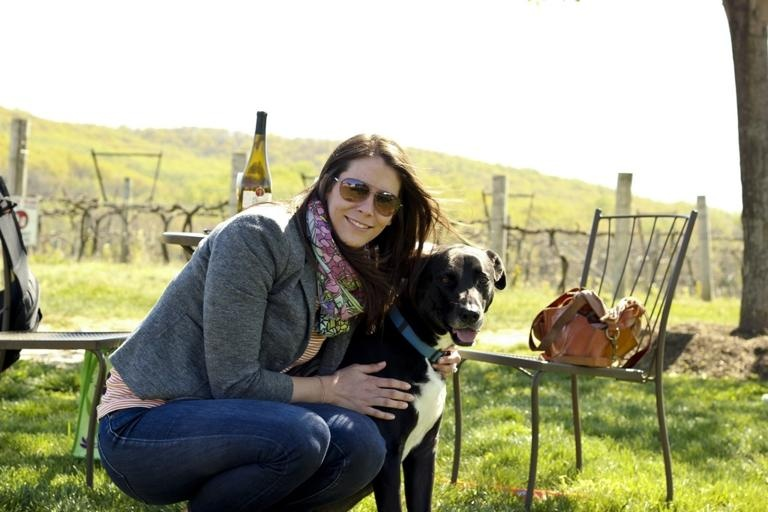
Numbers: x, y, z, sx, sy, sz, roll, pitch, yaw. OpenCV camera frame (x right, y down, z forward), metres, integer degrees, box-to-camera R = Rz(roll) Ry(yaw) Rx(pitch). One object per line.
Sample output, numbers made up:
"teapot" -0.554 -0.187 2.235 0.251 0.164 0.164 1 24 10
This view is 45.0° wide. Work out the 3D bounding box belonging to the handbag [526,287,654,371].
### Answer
"handbag" 1.612 0.613 7.238 0.732 0.582 0.649 14 -8 -18
